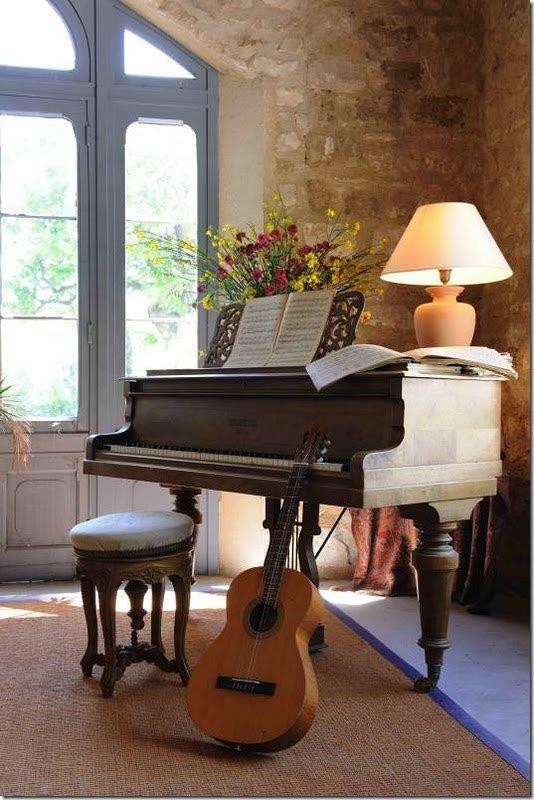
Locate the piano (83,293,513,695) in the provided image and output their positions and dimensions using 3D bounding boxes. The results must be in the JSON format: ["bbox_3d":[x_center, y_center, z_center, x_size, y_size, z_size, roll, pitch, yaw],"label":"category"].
[{"bbox_3d":[0.006,0.350,2.741,0.794,0.949,1.350,6,-4,-42],"label":"piano"}]

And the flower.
[{"bbox_3d":[-0.019,-0.555,3.200,0.668,0.258,0.668,-13,8,-23],"label":"flower"}]

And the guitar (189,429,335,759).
[{"bbox_3d":[-0.019,0.516,2.079,0.337,0.746,0.432,0,1,8],"label":"guitar"}]

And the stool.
[{"bbox_3d":[-0.401,0.660,2.497,0.412,0.459,0.388,-3,-10,-18],"label":"stool"}]

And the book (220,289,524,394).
[{"bbox_3d":[0.322,-0.122,2.697,0.722,0.225,0.500,1,-3,-23],"label":"book"}]
